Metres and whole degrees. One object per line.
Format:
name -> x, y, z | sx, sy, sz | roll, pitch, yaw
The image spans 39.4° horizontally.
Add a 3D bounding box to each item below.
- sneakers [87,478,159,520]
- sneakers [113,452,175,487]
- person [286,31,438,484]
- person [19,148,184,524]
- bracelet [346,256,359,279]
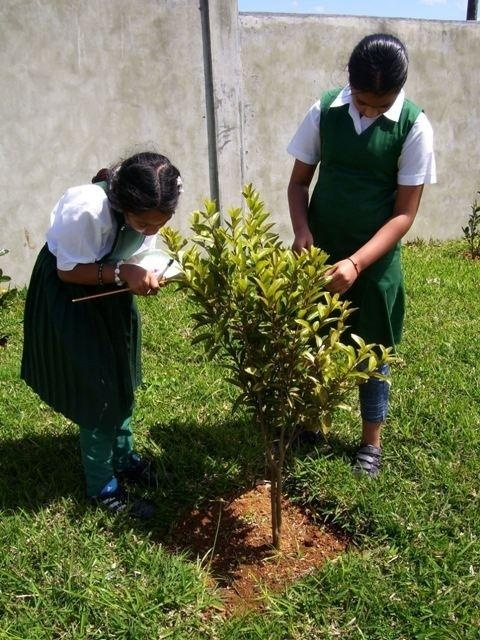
sneakers -> -0.496, 0.783, 2.858 | 0.371, 0.132, 0.114 | 9, 19, 3
sneakers -> -0.450, 0.709, 3.095 | 0.293, 0.107, 0.126 | 5, 29, 6
person -> 0.483, -0.200, 2.798 | 0.566, 1.833, 0.624 | 2, 9, -8
person -> -0.570, 0.083, 2.675 | 0.550, 1.468, 0.620 | 1, 9, -17
bracelet -> 0.430, -0.207, 2.561 | 0.054, 0.063, 0.042 | 4, 9, 5
